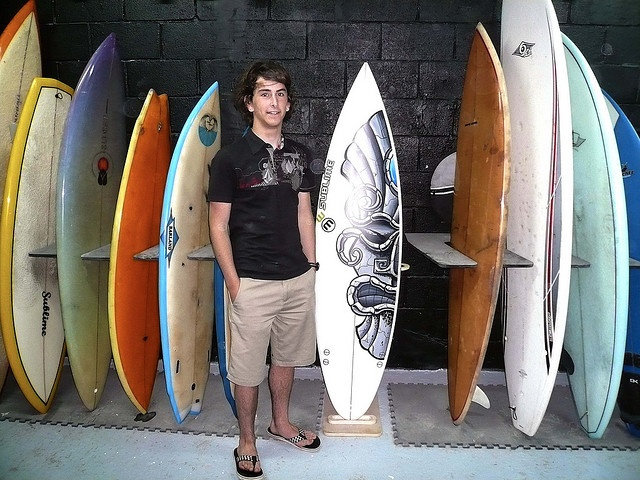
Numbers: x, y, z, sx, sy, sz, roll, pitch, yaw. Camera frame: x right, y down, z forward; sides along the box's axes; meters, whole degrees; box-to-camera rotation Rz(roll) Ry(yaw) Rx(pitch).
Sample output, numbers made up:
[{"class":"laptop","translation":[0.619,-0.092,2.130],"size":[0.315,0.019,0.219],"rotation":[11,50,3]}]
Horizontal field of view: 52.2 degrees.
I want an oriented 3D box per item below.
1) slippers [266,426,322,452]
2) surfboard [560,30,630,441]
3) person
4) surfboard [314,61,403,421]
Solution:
[{"class":"slippers","translation":[-0.129,1.020,3.433],"size":[0.217,0.057,0.113],"rotation":[5,9,25]},{"class":"surfboard","translation":[1.404,0.114,3.401],"size":[0.134,1.506,0.343],"rotation":[4,-6,-16]},{"class":"person","translation":[-0.272,0.141,3.308],"size":[0.583,2.027,0.444],"rotation":[-2,10,-20]},{"class":"surfboard","translation":[0.206,0.023,3.497],"size":[0.450,1.894,0.273],"rotation":[0,10,-6]}]
